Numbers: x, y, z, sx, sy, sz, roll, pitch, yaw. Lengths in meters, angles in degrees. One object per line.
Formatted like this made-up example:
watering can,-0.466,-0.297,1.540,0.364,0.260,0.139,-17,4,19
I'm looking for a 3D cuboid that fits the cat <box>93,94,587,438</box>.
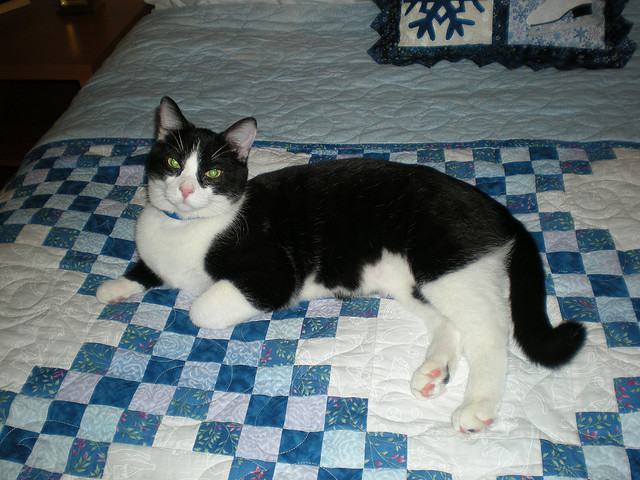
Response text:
cat,-0.292,-0.066,1.926,2.183,0.932,0.672,8,22,13
